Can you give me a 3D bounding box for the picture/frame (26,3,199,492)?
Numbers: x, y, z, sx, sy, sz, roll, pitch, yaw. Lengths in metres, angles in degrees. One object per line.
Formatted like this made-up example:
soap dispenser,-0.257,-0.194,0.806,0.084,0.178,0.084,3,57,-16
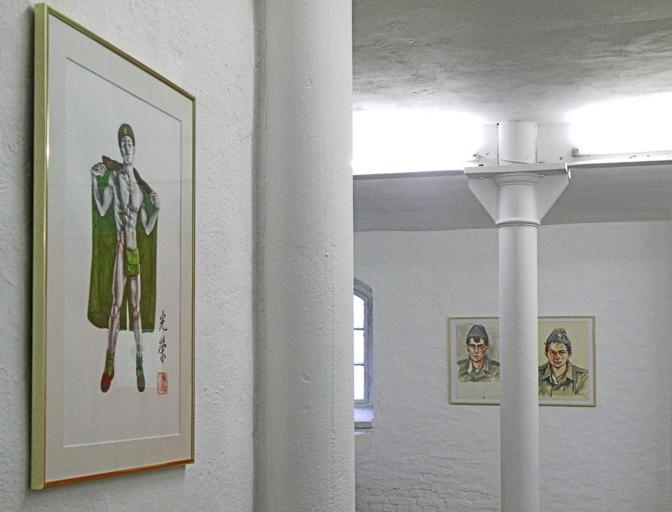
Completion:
picture/frame,-0.522,-0.006,1.917,0.112,1.043,0.531,-3,-7,24
